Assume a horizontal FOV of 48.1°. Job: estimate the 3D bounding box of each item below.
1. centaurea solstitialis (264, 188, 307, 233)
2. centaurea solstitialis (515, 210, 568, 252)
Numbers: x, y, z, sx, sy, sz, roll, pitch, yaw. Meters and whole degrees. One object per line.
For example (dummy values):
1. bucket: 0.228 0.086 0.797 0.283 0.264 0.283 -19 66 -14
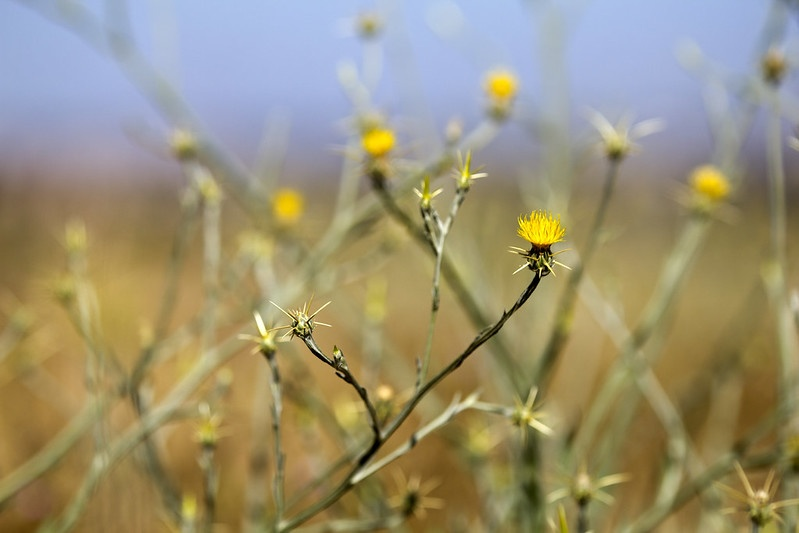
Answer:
1. centaurea solstitialis: -0.249 -0.124 1.966 0.075 0.085 0.017 2 -9 -40
2. centaurea solstitialis: 0.265 -0.071 1.692 0.080 0.080 0.083 -15 -25 42
